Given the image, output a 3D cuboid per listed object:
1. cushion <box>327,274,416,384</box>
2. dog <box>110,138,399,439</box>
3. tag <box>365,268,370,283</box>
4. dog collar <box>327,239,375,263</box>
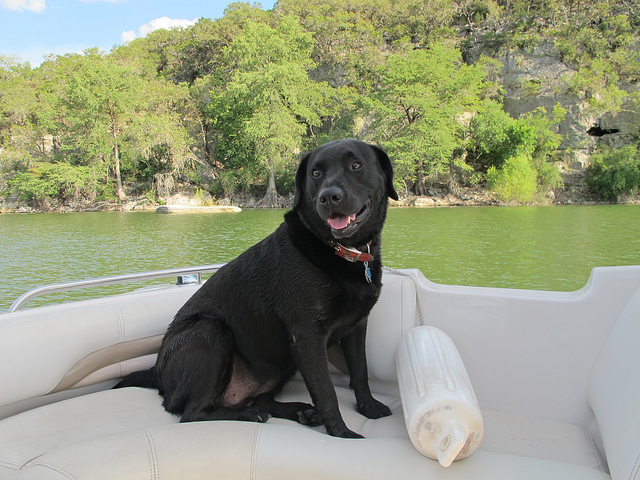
[{"bbox_3d":[0.174,0.645,3.768,0.830,0.838,0.660,-3,-6,32],"label":"cushion"},{"bbox_3d":[-0.501,0.393,3.854,1.701,2.094,1.652,-2,10,-30],"label":"dog"},{"bbox_3d":[0.309,0.239,3.330,0.028,0.064,0.015,-1,9,3],"label":"tag"},{"bbox_3d":[0.227,0.036,3.357,0.198,0.069,0.172,15,-7,34],"label":"dog collar"}]
